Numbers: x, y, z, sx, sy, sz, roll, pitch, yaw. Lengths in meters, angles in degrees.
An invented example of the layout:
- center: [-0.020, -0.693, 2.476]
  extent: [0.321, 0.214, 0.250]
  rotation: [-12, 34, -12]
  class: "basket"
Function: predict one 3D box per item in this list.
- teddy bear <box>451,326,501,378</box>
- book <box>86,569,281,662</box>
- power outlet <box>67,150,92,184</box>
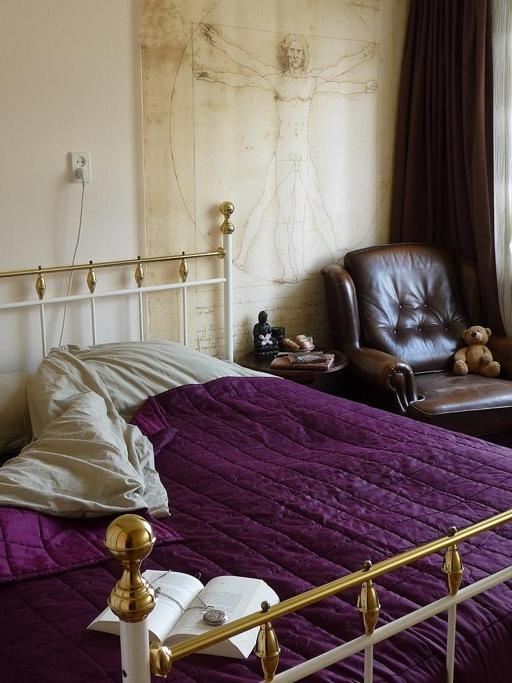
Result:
- center: [1.052, 0.039, 2.992]
  extent: [0.214, 0.244, 0.218]
  rotation: [1, 3, -23]
  class: "teddy bear"
- center: [-0.104, 0.409, 0.969]
  extent: [0.245, 0.059, 0.209]
  rotation: [4, 11, 22]
  class: "book"
- center: [-0.657, -0.653, 2.336]
  extent: [0.017, 0.166, 0.126]
  rotation: [9, 12, 43]
  class: "power outlet"
